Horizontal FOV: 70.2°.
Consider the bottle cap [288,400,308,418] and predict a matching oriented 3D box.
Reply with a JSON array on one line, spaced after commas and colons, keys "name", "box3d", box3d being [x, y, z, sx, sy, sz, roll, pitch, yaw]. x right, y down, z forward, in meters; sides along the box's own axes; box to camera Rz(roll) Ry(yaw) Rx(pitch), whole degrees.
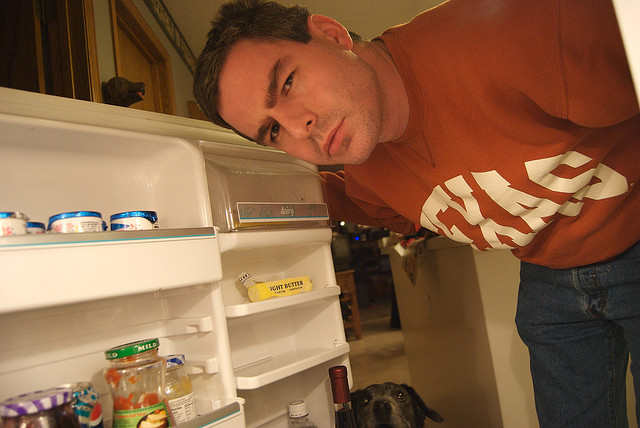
[{"name": "bottle cap", "box3d": [-0.062, 0.617, 1.452, 0.047, 0.040, 0.047, -3, -5, -6]}]

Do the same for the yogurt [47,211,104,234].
[{"name": "yogurt", "box3d": [-0.583, 0.035, 1.093, 0.070, 0.046, 0.071, -8, -9, 32]}]

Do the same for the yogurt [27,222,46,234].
[{"name": "yogurt", "box3d": [-0.659, 0.033, 1.064, 0.030, 0.025, 0.030, 0, 0, 11]}]
